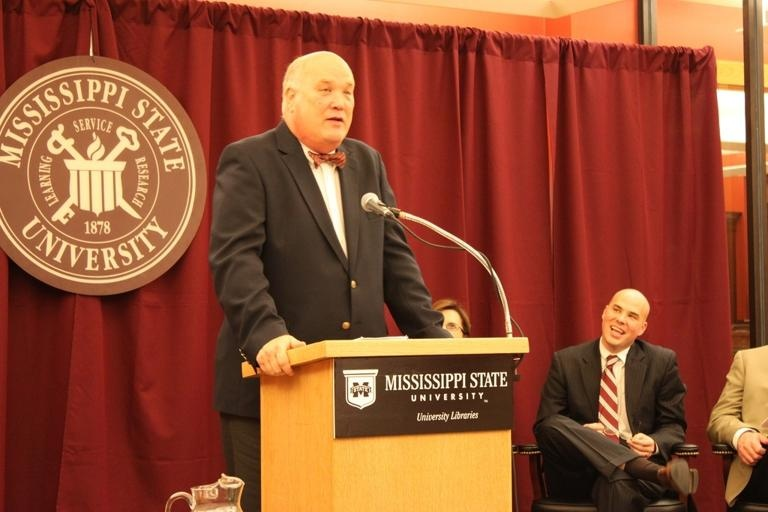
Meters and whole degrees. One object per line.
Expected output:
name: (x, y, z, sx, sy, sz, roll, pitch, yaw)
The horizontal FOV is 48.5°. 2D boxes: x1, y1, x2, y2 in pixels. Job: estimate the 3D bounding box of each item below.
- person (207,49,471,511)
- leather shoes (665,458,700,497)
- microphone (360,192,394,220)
person: (-0.308, -0.219, 3.982, 0.983, 1.492, 0.502, -1, -5, -27)
leather shoes: (1.676, 1.294, 4.854, 0.129, 0.256, 0.091, -17, -3, -30)
microphone: (-0.016, -0.226, 3.965, 0.173, 0.139, 0.328, -4, -6, -1)
